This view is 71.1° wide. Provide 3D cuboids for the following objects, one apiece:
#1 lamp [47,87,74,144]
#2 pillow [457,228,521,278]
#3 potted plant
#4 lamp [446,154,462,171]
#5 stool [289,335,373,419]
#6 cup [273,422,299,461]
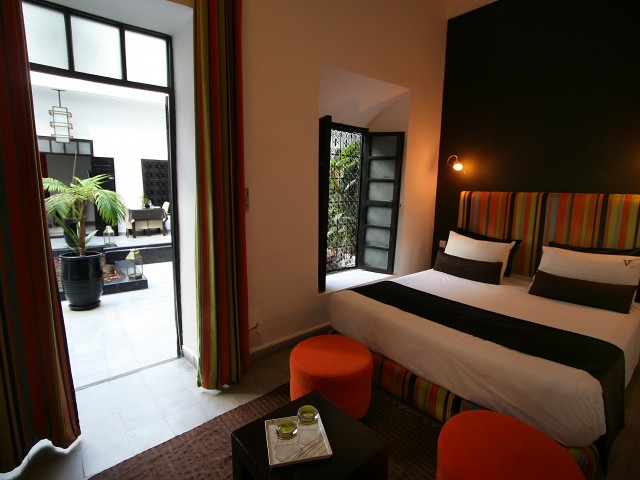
[{"bbox_3d":[-4.023,-1.959,6.930,0.348,0.837,1.861,-7,13,-29],"label":"lamp"},{"bbox_3d":[2.074,0.213,5.097,0.155,0.548,0.530,18,-7,-39],"label":"pillow"},{"bbox_3d":[-2.899,-0.050,5.607,0.813,1.592,2.439,-8,13,-31],"label":"potted plant"},{"bbox_3d":[1.703,-0.981,5.654,0.185,0.272,0.167,3,19,44],"label":"lamp"},{"bbox_3d":[0.117,0.998,3.503,0.549,0.460,0.556,-15,26,-33],"label":"stool"},{"bbox_3d":[-0.209,1.249,2.784,0.147,0.154,0.195,-2,11,-4],"label":"cup"}]
